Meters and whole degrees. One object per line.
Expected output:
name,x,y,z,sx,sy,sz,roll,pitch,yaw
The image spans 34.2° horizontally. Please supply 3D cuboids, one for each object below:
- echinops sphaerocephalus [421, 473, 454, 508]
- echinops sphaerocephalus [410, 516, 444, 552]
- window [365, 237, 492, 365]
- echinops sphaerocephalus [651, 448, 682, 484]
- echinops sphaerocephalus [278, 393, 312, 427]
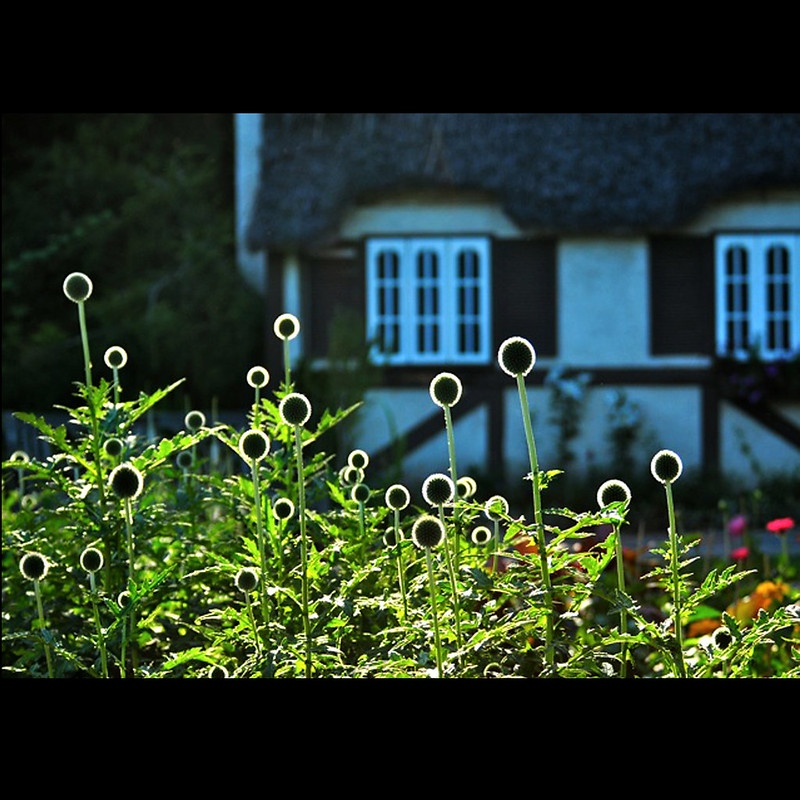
echinops sphaerocephalus,0.082,0.193,2.877,0.061,0.076,0.025,3,3,-3
echinops sphaerocephalus,0.063,0.287,2.856,0.062,0.082,0.068,-2,2,-38
window,0.176,-0.546,7.162,0.540,0.636,0.032,-1,-2,6
echinops sphaerocephalus,0.593,0.147,2.917,0.069,0.083,0.028,0,4,3
echinops sphaerocephalus,-0.239,0.024,2.933,0.068,0.077,0.171,0,-5,-6
